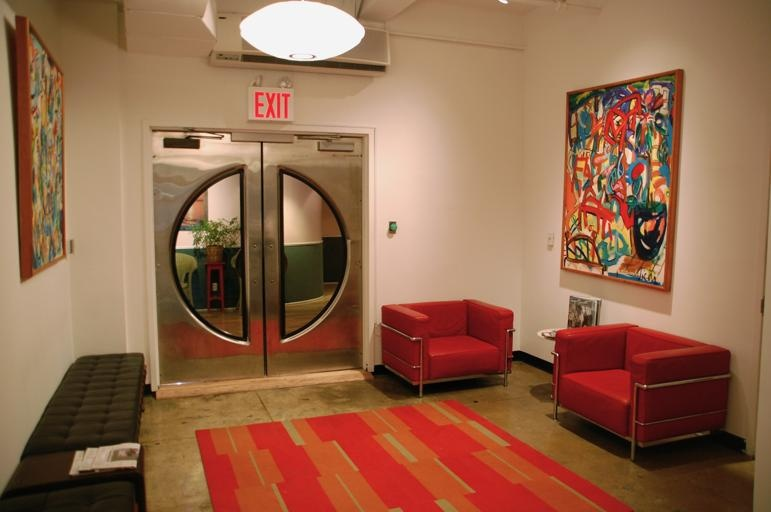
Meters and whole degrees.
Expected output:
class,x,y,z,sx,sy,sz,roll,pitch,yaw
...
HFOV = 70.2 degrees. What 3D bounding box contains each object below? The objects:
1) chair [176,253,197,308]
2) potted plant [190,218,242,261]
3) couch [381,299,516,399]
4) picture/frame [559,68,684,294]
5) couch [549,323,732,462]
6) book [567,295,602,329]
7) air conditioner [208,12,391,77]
class,x,y,z,sx,sy,sz,roll,pitch,yaw
chair,-2.570,0.298,7.135,0.263,0.696,0.122,-5,13,-18
potted plant,-2.268,-0.220,7.291,0.465,0.454,0.296,-2,12,-37
couch,0.843,1.177,7.425,1.451,0.981,1.081,-1,4,-19
picture/frame,2.882,-0.927,6.635,0.307,2.448,1.647,-7,14,-27
couch,2.791,1.431,6.120,1.307,1.049,1.450,0,4,-18
book,2.598,0.728,7.060,0.060,0.433,0.403,3,5,-27
air conditioner,-1.033,-2.677,6.970,2.328,0.666,0.353,-4,13,-16
